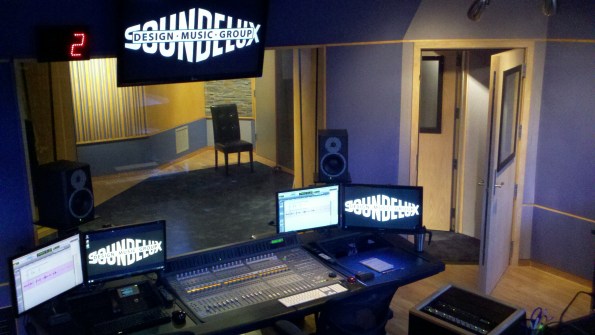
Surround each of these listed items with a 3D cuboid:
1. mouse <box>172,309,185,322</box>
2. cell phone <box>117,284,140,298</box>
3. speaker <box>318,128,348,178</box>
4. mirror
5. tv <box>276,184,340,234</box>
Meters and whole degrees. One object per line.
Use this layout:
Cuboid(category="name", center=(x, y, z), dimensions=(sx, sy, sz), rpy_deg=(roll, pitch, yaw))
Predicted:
Cuboid(category="mouse", center=(-1.123, 1.381, 3.964), dimensions=(0.105, 0.062, 0.096), rpy_deg=(-6, 28, -22))
Cuboid(category="cell phone", center=(-1.700, 1.238, 4.218), dimensions=(0.197, 0.051, 0.139), rpy_deg=(-9, 15, -25))
Cuboid(category="speaker", center=(0.427, -0.126, 5.179), dimensions=(0.367, 0.588, 0.192), rpy_deg=(-3, 15, 2))
Cuboid(category="mirror", center=(2.088, -1.158, 6.683), dimensions=(0.076, 1.162, 0.480), rpy_deg=(-7, 13, -24))
Cuboid(category="tv", center=(0.125, 0.492, 4.890), dimensions=(0.679, 0.391, 0.050), rpy_deg=(-5, 13, -20))
